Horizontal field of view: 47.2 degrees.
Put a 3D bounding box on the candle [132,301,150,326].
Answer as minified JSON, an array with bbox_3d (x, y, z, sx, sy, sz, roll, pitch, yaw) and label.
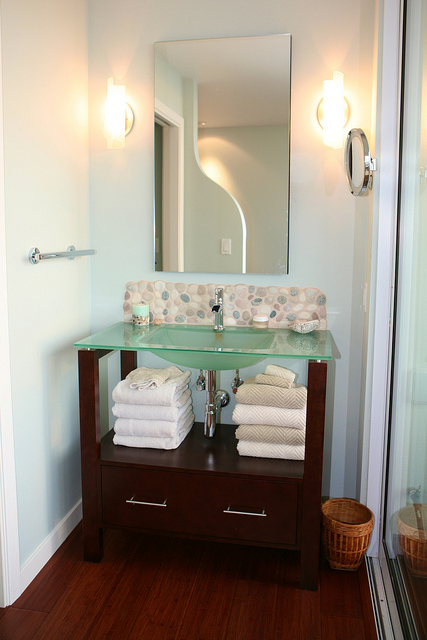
[{"bbox_3d":[-0.305,-0.026,2.074,0.072,0.093,0.078,2,8,3],"label":"candle"}]

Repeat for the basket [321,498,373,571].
[{"bbox_3d":[0.449,0.753,1.741,0.171,0.205,0.208,-1,-1,1],"label":"basket"}]

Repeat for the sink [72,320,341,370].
[{"bbox_3d":[0.006,0.124,1.836,0.923,0.198,0.642,1,3,12],"label":"sink"}]

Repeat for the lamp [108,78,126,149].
[{"bbox_3d":[-0.393,-0.819,1.956,0.062,0.256,0.057,0,3,-17],"label":"lamp"}]

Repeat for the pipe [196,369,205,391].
[{"bbox_3d":[-0.051,0.232,1.912,0.027,0.076,0.090,0,3,-2],"label":"pipe"}]

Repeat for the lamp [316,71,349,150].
[{"bbox_3d":[0.461,-0.806,1.873,0.127,0.286,0.115,1,3,9],"label":"lamp"}]

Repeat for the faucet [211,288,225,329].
[{"bbox_3d":[0.018,-0.046,1.976,0.045,0.165,0.140,1,3,1],"label":"faucet"}]
